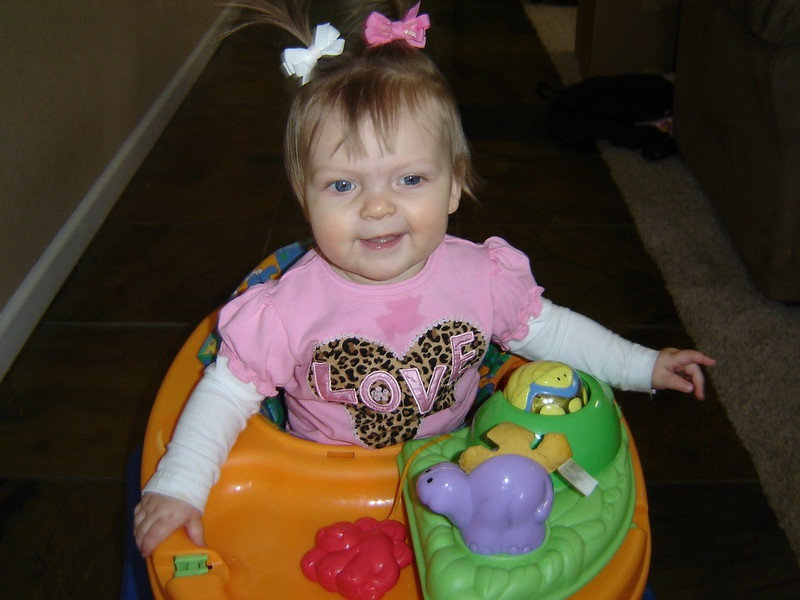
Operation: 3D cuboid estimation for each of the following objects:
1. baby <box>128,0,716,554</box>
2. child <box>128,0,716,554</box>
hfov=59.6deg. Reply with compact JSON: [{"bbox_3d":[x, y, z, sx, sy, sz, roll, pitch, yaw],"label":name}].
[{"bbox_3d":[0.076,-0.064,1.417,1.153,1.203,0.505,-10,34,-13],"label":"baby"},{"bbox_3d":[0.076,-0.064,1.417,1.153,1.203,0.505,-10,34,-13],"label":"child"}]
